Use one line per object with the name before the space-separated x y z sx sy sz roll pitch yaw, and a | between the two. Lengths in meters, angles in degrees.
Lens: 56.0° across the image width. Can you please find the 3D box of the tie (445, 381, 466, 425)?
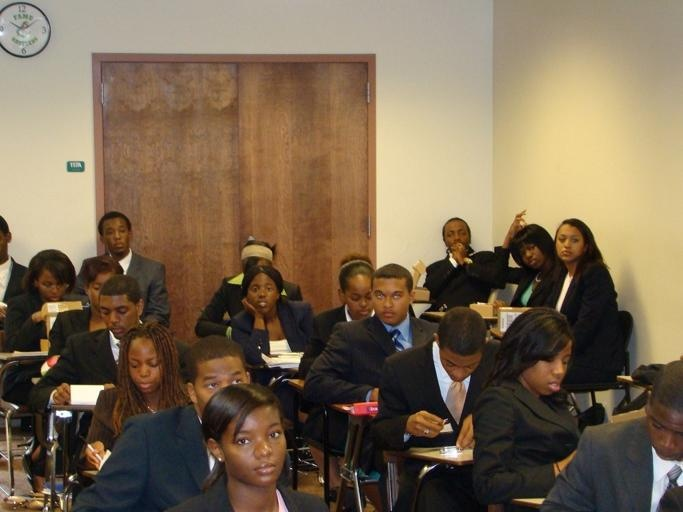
tie | 0.509 0.651 2.865 0.092 0.026 0.252 -4 33 9

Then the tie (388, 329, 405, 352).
tie | 0.312 0.468 3.523 0.069 0.126 0.033 -9 -4 -12

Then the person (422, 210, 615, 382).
person | 1.432 0.430 5.114 1.035 1.559 1.030 0 -10 -16

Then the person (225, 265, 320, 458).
person | -0.457 0.833 4.745 0.582 1.428 0.701 -6 -1 -10

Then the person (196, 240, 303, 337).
person | -0.780 0.343 5.616 1.112 0.916 0.581 -1 7 -11

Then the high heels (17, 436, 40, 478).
high heels | -1.950 1.238 4.024 0.111 0.162 0.365 5 1 -13
